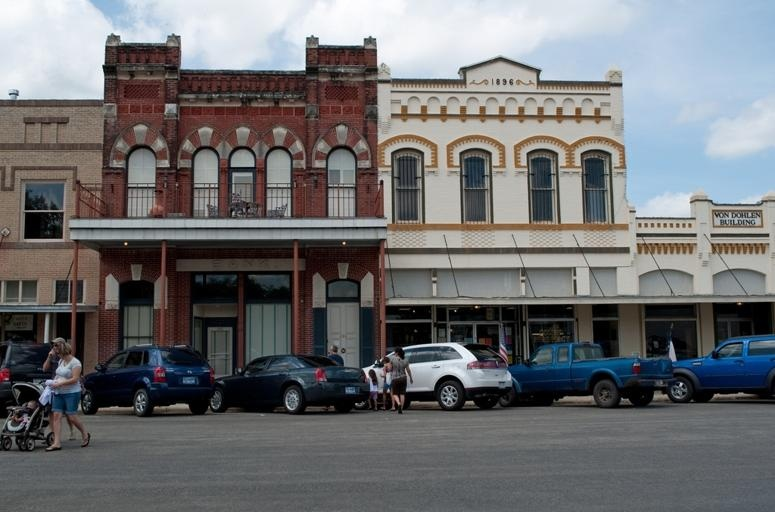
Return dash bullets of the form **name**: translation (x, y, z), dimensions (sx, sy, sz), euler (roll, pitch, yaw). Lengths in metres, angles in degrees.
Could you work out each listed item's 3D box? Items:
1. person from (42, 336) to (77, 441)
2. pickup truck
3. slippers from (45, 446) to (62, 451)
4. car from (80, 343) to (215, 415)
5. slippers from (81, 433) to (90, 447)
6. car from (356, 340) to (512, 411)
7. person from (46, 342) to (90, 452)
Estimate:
- **person**: translation (-8.076, 3.493, 28.819), dimensions (0.851, 2.414, 0.843), euler (1, -2, 13)
- **pickup truck**: translation (5.986, 3.852, 36.974), dimensions (5.684, 1.933, 2.400), euler (-6, -8, 40)
- **slippers**: translation (-8.157, 4.753, 28.299), dimensions (0.124, 0.086, 0.321), euler (-10, -19, 33)
- **car**: translation (-7.376, 3.845, 35.280), dimensions (3.615, 2.148, 1.366), euler (-5, -11, 20)
- **slippers**: translation (-7.453, 4.601, 28.709), dimensions (0.109, 0.387, 0.140), euler (22, -12, -18)
- **car**: translation (1.226, 3.856, 37.334), dimensions (5.558, 2.039, 2.432), euler (-5, -5, 36)
- **person**: translation (-8.098, 3.477, 29.018), dimensions (1.073, 2.663, 0.977), euler (-2, -3, -27)
